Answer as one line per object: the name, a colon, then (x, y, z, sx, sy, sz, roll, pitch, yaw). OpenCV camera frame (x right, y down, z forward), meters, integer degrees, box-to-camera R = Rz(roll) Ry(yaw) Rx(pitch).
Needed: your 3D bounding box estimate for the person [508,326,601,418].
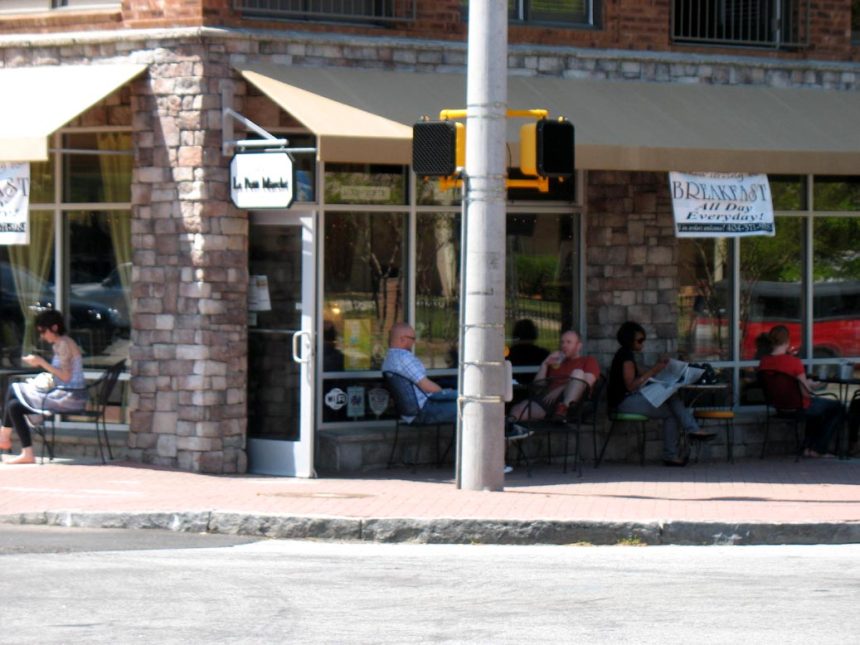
person: (1.471, 0.664, 21.667, 0.661, 0.843, 1.170, 4, 3, 38)

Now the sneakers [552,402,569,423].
sneakers: (1.452, 0.973, 21.371, 0.214, 0.215, 0.334, -1, -2, 4)

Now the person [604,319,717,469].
person: (2.548, 0.808, 22.009, 1.072, 1.617, 0.487, -1, -1, 4)

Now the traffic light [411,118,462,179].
traffic light: (0.086, -1.698, 19.377, 0.512, 0.531, 0.276, -2, -1, 8)

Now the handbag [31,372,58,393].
handbag: (-4.180, 0.662, 21.082, 0.357, 0.206, 0.155, -2, -2, 30)

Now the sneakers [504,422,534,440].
sneakers: (0.971, 1.181, 21.012, 0.414, 0.191, 0.137, 0, 2, -33)

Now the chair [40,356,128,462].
chair: (-3.971, 0.994, 21.807, 1.070, 1.457, 0.879, 2, -2, -4)

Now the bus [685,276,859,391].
bus: (4.218, 0.042, 23.465, 2.312, 1.229, 0.941, -2, 3, -15)

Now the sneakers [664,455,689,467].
sneakers: (2.784, 1.558, 21.992, 0.205, 0.077, 0.114, -2, 0, 2)
